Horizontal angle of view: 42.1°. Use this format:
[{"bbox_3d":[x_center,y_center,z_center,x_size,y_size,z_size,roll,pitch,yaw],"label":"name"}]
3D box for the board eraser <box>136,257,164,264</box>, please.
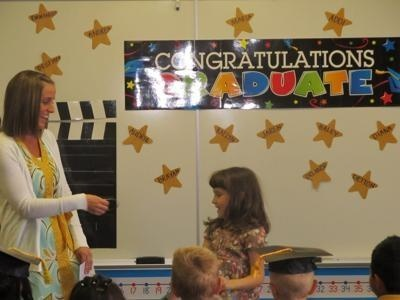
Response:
[{"bbox_3d":[-0.358,0.802,3.779,0.207,0.046,0.016,1,2,-2],"label":"board eraser"}]
